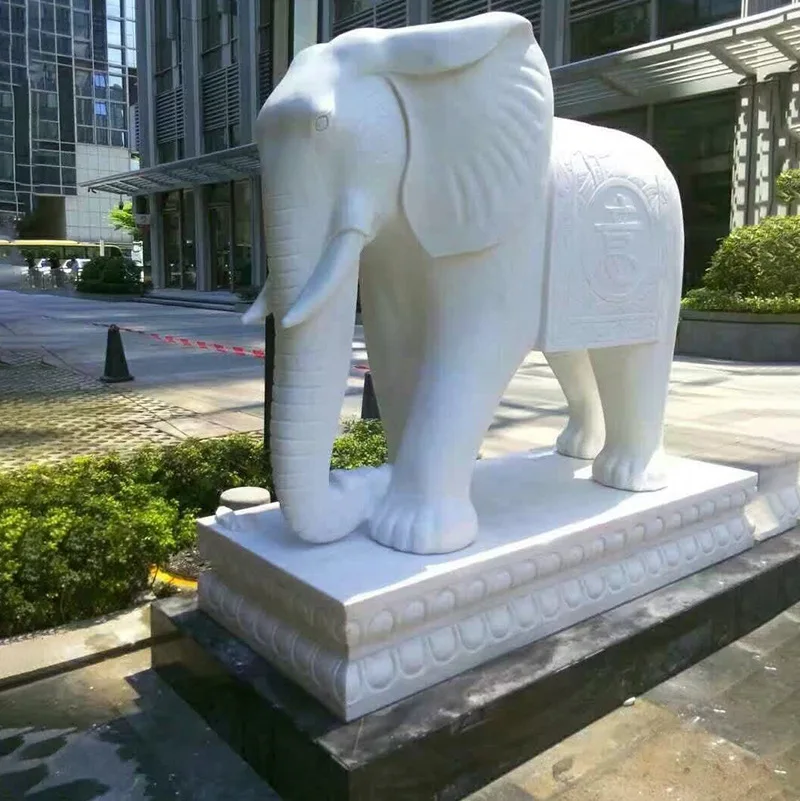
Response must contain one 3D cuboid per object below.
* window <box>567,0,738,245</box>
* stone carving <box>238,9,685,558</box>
[{"bbox_3d":[4.073,-4.602,11.605,2.686,1.344,4.700,-2,-9,26],"label":"window"},{"bbox_3d":[0.320,-0.338,2.024,1.139,1.272,0.701,-5,16,-23],"label":"stone carving"}]
